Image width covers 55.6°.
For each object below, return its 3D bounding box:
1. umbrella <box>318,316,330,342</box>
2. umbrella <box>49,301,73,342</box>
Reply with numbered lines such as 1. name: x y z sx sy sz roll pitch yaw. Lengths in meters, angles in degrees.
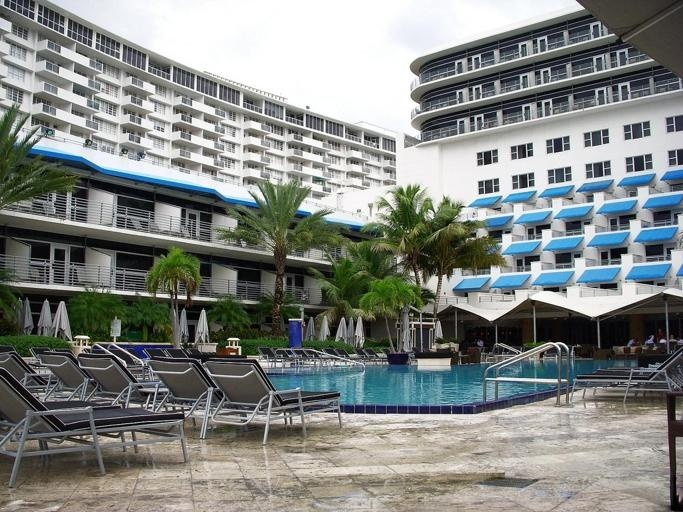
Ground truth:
1. umbrella: -1.009 4.127 37.318 0.490 1.393 1.205 1 -10 -4
2. umbrella: -11.660 2.646 27.063 0.794 1.688 1.847 5 -11 -22
